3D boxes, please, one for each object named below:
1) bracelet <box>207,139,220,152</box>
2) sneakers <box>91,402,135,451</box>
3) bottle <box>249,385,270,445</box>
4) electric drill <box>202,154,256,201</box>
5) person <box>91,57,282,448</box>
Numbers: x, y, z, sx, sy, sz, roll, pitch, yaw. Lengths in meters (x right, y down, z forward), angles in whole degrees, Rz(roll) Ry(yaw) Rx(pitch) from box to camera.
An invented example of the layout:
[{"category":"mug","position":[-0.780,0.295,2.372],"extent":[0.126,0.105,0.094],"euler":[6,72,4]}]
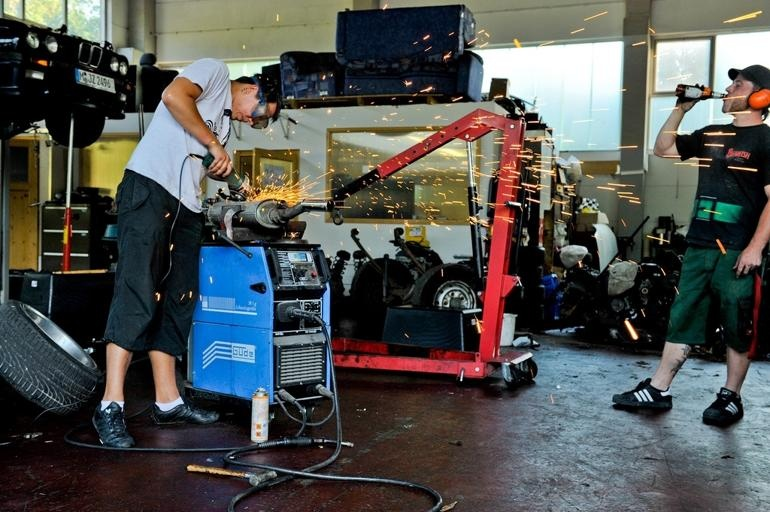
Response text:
[{"category":"bracelet","position":[-1.163,-0.742,4.303],"extent":[0.070,0.081,0.030],"euler":[3,-4,-4]},{"category":"sneakers","position":[-1.793,1.086,4.198],"extent":[0.206,0.264,0.389],"euler":[-3,8,-35]},{"category":"bottle","position":[-0.834,1.057,4.226],"extent":[0.119,0.354,0.269],"euler":[0,7,-13]},{"category":"electric drill","position":[-1.131,-0.559,4.583],"extent":[0.272,0.275,0.289],"euler":[0,5,-5]},{"category":"person","position":[-1.413,0.018,4.656],"extent":[1.221,2.492,1.063],"euler":[-3,-11,-10]}]
